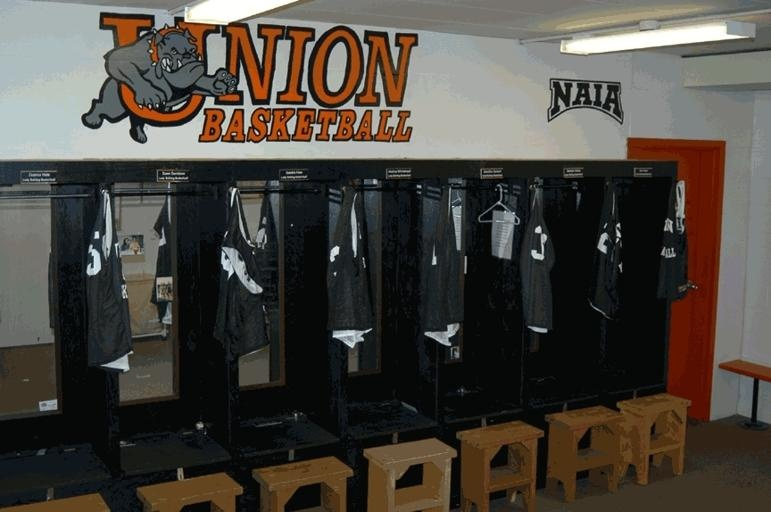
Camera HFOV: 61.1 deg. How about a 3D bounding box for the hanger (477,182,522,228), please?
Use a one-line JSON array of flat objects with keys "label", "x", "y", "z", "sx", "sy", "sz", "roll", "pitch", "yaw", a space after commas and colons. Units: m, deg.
[{"label": "hanger", "x": 1.091, "y": -0.515, "z": 6.392, "sx": 0.367, "sy": 0.382, "sz": 0.126, "roll": -2, "pitch": 9, "yaw": 5}]
